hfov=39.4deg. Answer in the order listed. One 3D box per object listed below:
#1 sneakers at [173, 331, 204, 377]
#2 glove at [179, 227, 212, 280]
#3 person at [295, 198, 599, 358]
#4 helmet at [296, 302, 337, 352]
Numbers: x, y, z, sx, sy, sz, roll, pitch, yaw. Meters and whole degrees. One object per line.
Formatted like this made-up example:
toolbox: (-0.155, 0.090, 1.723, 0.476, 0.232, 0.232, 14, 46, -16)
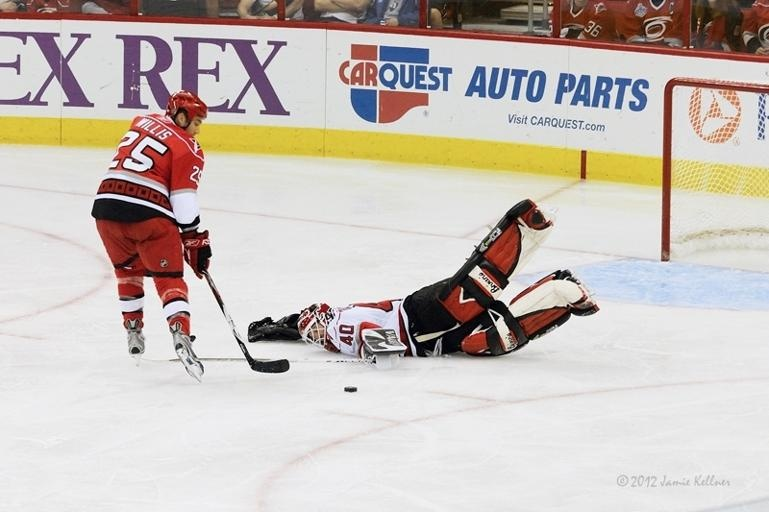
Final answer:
sneakers: (-1.154, 0.580, 6.257, 0.102, 0.265, 0.131, -31, -3, 1)
glove: (-1.153, -0.035, 6.567, 0.199, 0.264, 0.118, -2, 20, -3)
person: (0.363, 0.186, 6.631, 1.591, 0.638, 0.980, -1, -4, 15)
helmet: (-0.412, 0.454, 6.756, 0.261, 0.170, 0.302, -16, 39, -3)
